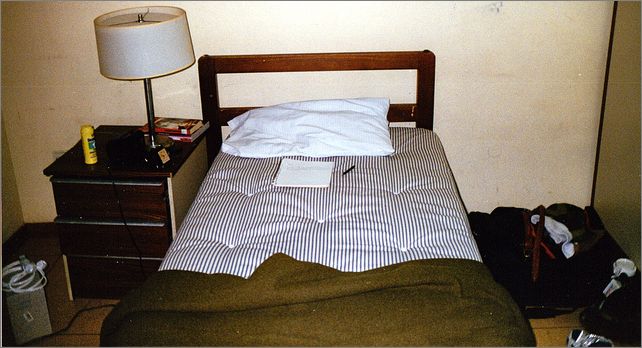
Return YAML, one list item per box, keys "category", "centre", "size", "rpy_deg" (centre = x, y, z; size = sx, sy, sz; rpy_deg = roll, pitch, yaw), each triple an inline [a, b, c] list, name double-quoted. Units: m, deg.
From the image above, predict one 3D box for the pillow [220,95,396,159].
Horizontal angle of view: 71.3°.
- category: "pillow"
  centre: [-0.084, -0.344, 3.330]
  size: [1.200, 0.162, 0.495]
  rpy_deg: [-1, 46, 0]
